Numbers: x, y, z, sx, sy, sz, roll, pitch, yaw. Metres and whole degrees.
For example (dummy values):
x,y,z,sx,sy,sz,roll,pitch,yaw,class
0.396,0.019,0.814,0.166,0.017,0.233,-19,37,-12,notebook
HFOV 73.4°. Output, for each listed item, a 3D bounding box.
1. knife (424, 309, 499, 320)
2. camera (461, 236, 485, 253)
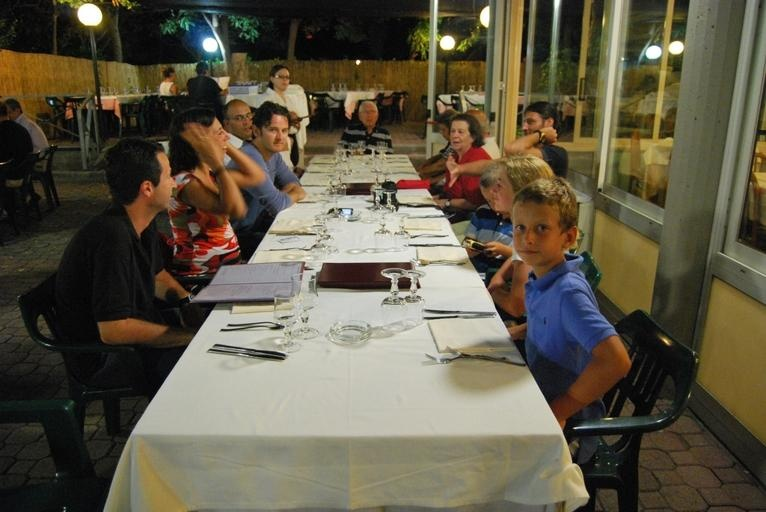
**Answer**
x,y,z,sx,sy,sz,roll,pitch,yaw,class
0.317,0.244,2.151,0.361,0.038,0.092,-2,11,0,knife
0.517,-0.059,2.897,0.097,0.026,0.093,14,7,-14,camera
